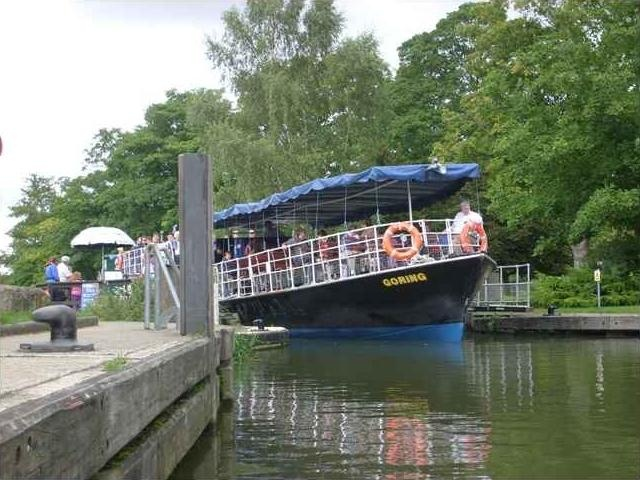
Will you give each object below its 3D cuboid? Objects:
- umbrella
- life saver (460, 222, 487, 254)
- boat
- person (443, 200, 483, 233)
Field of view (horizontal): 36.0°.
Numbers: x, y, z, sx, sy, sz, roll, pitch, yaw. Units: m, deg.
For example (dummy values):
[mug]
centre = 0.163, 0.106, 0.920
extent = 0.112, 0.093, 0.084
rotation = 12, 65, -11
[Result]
[umbrella]
centre = -9.559, 0.315, 43.449
extent = 2.242, 1.411, 2.177
rotation = 7, -9, -36
[life saver]
centre = 3.859, -0.059, 24.794
extent = 0.742, 0.765, 0.244
rotation = 2, -3, 0
[boat]
centre = -0.723, 1.058, 29.785
extent = 3.897, 4.301, 15.227
rotation = 4, -9, -39
[person]
centre = 3.676, -0.457, 25.052
extent = 1.132, 1.032, 0.639
rotation = -7, 13, 0
